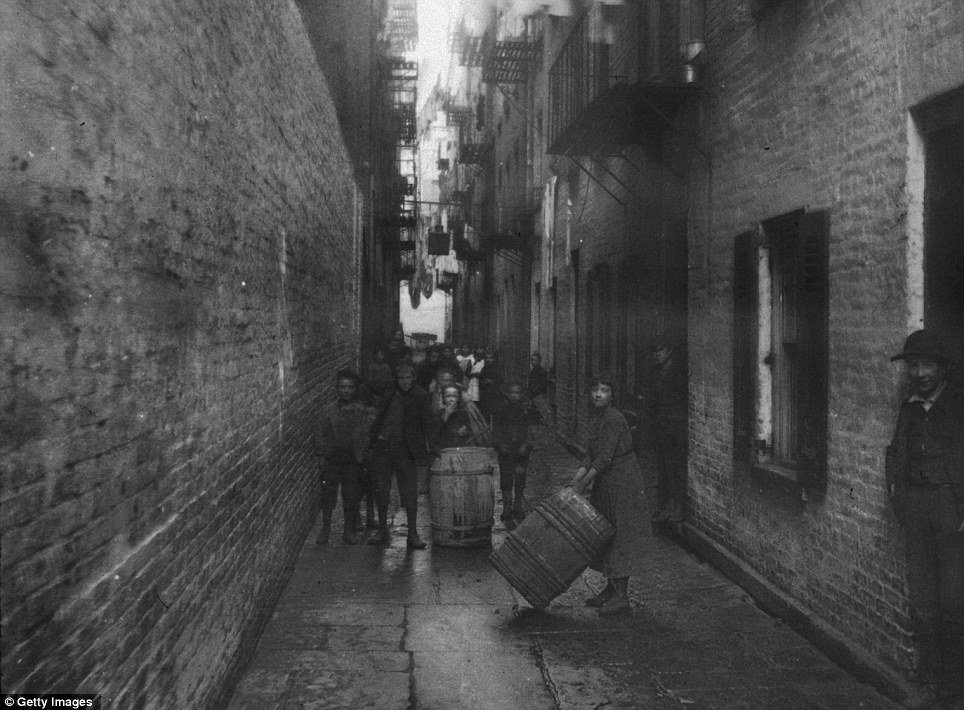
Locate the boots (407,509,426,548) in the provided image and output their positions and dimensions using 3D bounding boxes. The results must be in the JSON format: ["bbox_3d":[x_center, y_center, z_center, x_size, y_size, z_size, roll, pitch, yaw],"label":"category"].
[{"bbox_3d":[-0.735,1.975,9.464,0.216,0.435,0.431,0,1,-4],"label":"boots"}]

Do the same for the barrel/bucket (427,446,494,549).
[{"bbox_3d":[-0.166,1.586,9.599,0.846,1.446,0.968,0,2,5],"label":"barrel/bucket"}]
